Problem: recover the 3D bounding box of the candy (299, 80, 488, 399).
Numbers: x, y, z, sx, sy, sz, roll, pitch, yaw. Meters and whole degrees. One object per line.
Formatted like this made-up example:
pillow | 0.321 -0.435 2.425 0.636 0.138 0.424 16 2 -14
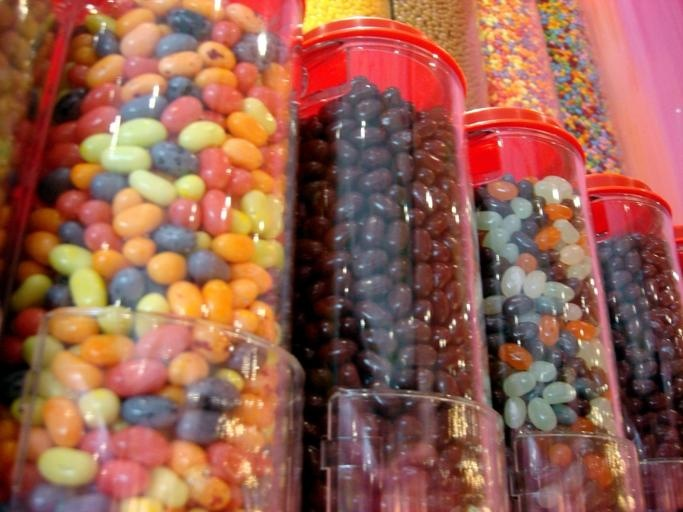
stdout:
candy | 0.061 -0.042 1.085 0.273 0.525 0.201 6 -11 -31
